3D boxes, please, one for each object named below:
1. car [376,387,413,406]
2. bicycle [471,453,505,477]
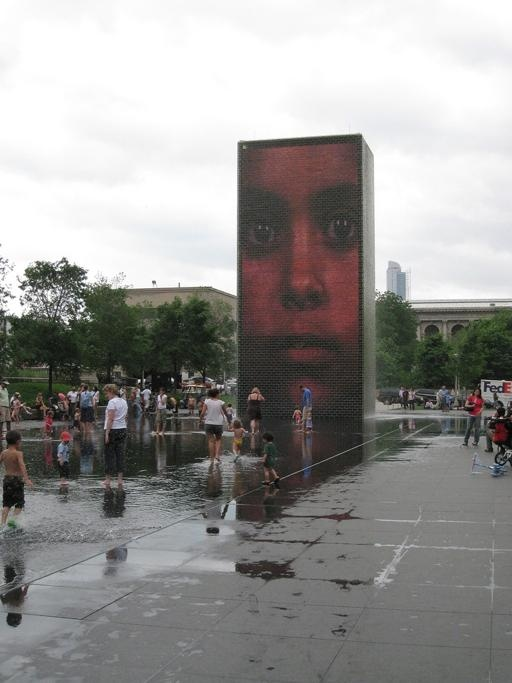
[{"bbox_3d":[9.776,3.949,65.430,1.916,0.758,2.279,1,0,10],"label":"car"},{"bbox_3d":[3.843,2.102,15.274,0.285,0.291,0.531,-4,7,-33],"label":"bicycle"}]
